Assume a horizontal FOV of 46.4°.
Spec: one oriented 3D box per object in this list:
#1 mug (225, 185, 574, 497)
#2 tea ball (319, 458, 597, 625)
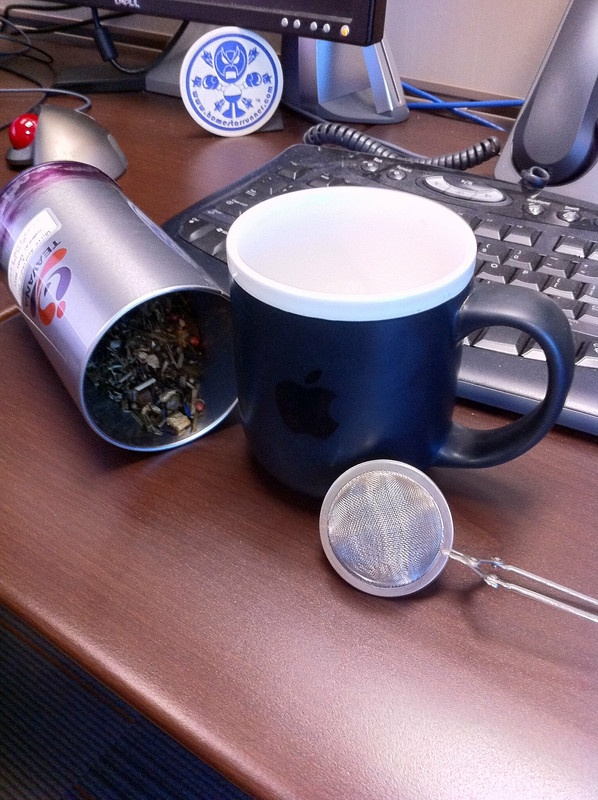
[{"bbox_3d":[0.035,-0.008,0.247,0.115,0.080,0.073,15,32,23],"label":"mug"},{"bbox_3d":[0.051,0.051,0.264,0.102,0.027,0.038,21,75,4],"label":"tea ball"}]
